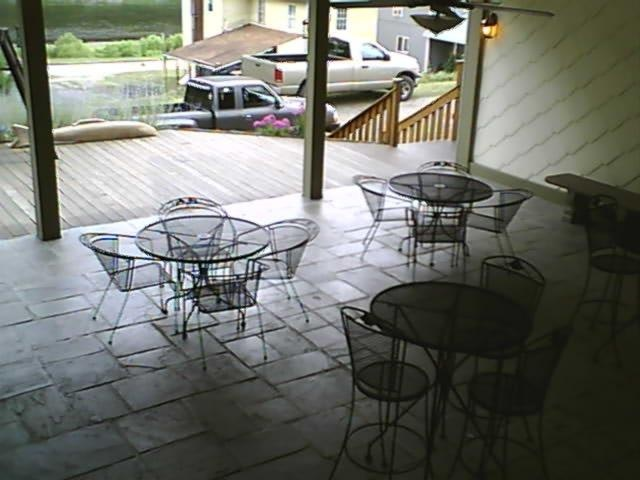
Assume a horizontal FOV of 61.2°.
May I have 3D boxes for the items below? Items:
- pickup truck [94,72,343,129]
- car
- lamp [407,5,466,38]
[{"bbox_3d":[-2.266,-3.147,12.532,5.190,1.514,1.830,-9,41,-12],"label":"pickup truck"},{"bbox_3d":[-5.338,-2.905,11.138,1.286,1.200,2.947,17,27,28],"label":"car"},{"bbox_3d":[0.980,-1.797,4.439,0.407,0.215,0.413,10,24,16],"label":"lamp"}]
